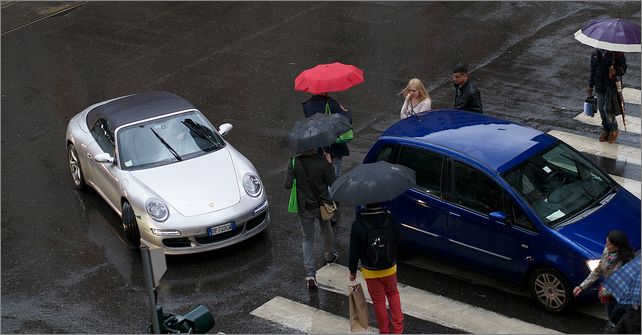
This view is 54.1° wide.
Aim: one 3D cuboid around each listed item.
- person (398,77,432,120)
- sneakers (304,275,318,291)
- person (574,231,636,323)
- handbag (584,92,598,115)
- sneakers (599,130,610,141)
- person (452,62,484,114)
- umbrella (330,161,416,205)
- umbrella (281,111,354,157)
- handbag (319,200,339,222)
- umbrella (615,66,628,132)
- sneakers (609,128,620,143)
[{"bbox_3d":[2.608,-1.758,17.010,0.898,1.069,0.694,11,21,36],"label":"person"},{"bbox_3d":[-0.236,2.779,15.046,0.225,0.524,0.219,-1,71,6],"label":"sneakers"},{"bbox_3d":[5.977,2.215,13.168,1.175,2.140,0.752,-26,37,6],"label":"person"},{"bbox_3d":[7.892,-1.785,18.280,0.595,0.598,0.394,-2,2,-32],"label":"handbag"},{"bbox_3d":[8.356,-0.883,18.457,0.156,0.147,0.372,14,22,40],"label":"sneakers"},{"bbox_3d":[3.859,-2.046,16.578,0.722,1.159,0.941,-13,32,1],"label":"person"},{"bbox_3d":[1.111,0.360,13.632,1.857,0.487,0.938,-14,31,-2],"label":"umbrella"},{"bbox_3d":[-0.059,-0.625,14.873,1.662,0.877,1.037,-20,32,-11],"label":"umbrella"},{"bbox_3d":[0.166,1.034,14.850,0.408,0.507,0.176,-16,32,-3],"label":"handbag"},{"bbox_3d":[8.854,-1.935,18.508,0.245,1.994,0.308,-10,8,3],"label":"umbrella"},{"bbox_3d":[8.591,-0.882,18.389,0.187,0.208,0.502,14,62,43],"label":"sneakers"}]
